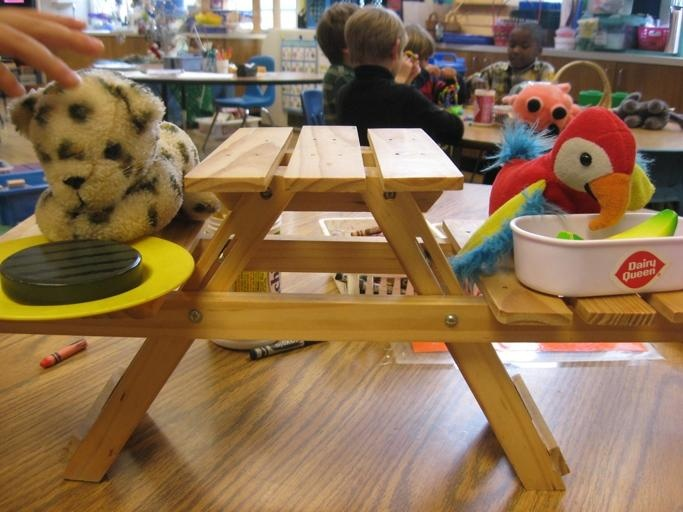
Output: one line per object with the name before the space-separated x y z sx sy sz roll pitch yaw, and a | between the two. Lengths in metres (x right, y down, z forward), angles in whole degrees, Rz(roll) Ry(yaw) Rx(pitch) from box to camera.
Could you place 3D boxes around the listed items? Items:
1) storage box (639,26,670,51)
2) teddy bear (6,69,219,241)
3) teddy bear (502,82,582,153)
storage box | 2.531 -1.779 4.362 0.218 0.151 0.197 2 21 7
teddy bear | -0.456 -0.217 1.092 0.381 0.285 0.396 2 21 8
teddy bear | 0.580 -0.421 1.548 0.220 0.187 0.127 11 8 1
